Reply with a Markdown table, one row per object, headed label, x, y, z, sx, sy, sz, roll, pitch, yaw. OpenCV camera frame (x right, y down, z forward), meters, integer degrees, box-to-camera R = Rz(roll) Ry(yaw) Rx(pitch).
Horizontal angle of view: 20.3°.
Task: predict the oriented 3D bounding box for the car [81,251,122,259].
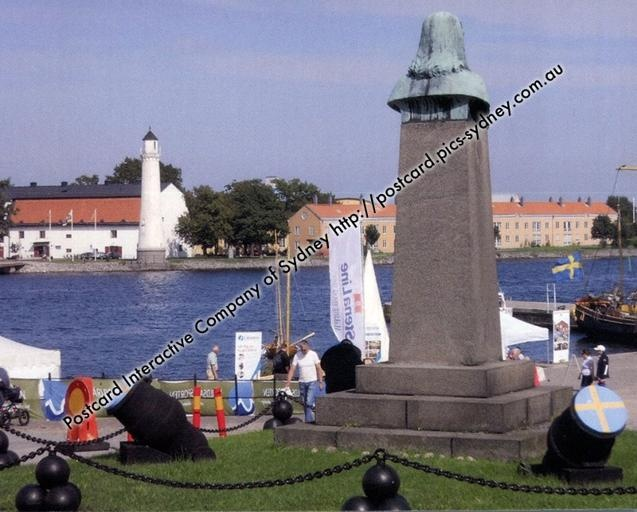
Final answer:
| label | x | y | z | sx | sy | sz | roll | pitch | yaw |
| --- | --- | --- | --- | --- | --- | --- | --- | --- | --- |
| car | -21.497 | -0.286 | 174.252 | 4.020 | 0.693 | 1.752 | 1 | -3 | 7 |

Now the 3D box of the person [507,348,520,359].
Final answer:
| label | x | y | z | sx | sy | sz | roll | pitch | yaw |
| --- | --- | --- | --- | --- | --- | --- | --- | --- | --- |
| person | 6.823 | 3.355 | 62.164 | 0.684 | 0.379 | 0.935 | -2 | 2 | 6 |

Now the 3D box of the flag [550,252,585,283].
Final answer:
| label | x | y | z | sx | sy | sz | roll | pitch | yaw |
| --- | --- | --- | --- | --- | --- | --- | --- | --- | --- |
| flag | 15.108 | 0.556 | 107.841 | 2.617 | 2.624 | 0.372 | 4 | 3 | 40 |
